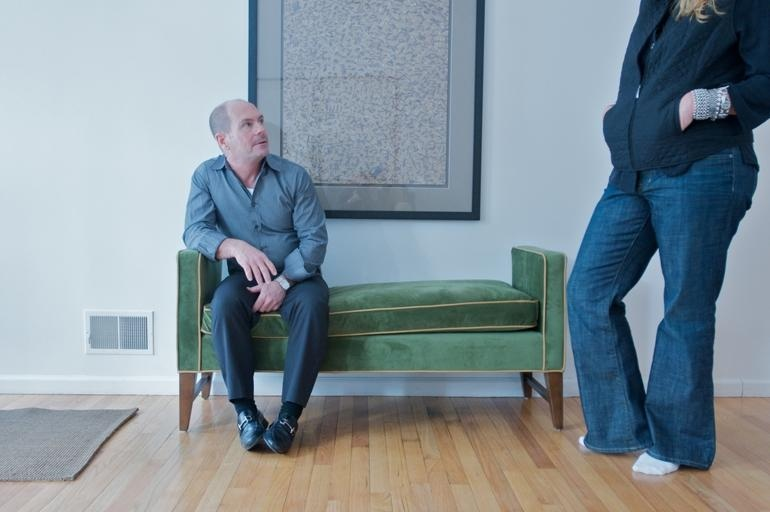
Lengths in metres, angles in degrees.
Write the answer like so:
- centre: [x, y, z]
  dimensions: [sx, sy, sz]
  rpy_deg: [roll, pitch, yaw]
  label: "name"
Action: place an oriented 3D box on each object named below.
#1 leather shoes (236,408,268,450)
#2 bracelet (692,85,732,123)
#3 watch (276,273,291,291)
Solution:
- centre: [-0.644, 0.801, 3.301]
  dimensions: [0.113, 0.145, 0.333]
  rpy_deg: [-23, 10, -9]
  label: "leather shoes"
- centre: [1.345, -0.628, 2.864]
  dimensions: [0.147, 0.122, 0.029]
  rpy_deg: [-4, 6, 8]
  label: "bracelet"
- centre: [-0.499, 0.131, 3.446]
  dimensions: [0.074, 0.083, 0.052]
  rpy_deg: [-6, 19, 41]
  label: "watch"
